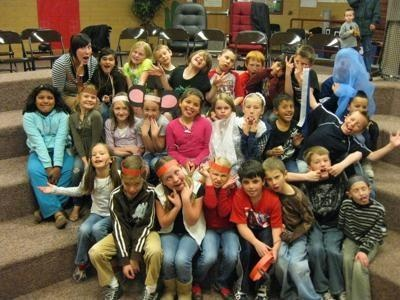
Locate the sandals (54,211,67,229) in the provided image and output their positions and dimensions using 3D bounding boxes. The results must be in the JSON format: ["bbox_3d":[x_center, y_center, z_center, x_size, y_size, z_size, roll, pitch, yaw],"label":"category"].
[{"bbox_3d":[-1.148,0.569,3.044,0.071,0.070,0.165,-12,-11,-26],"label":"sandals"}]

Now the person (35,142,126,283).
[{"bbox_3d":[-0.845,0.490,2.936,0.734,0.989,0.644,9,14,42],"label":"person"}]

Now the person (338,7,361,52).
[{"bbox_3d":[2.137,-1.564,5.201,0.270,0.791,0.265,-7,21,6],"label":"person"}]

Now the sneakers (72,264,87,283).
[{"bbox_3d":[-0.948,0.978,2.907,0.060,0.081,0.201,7,-5,8],"label":"sneakers"}]
